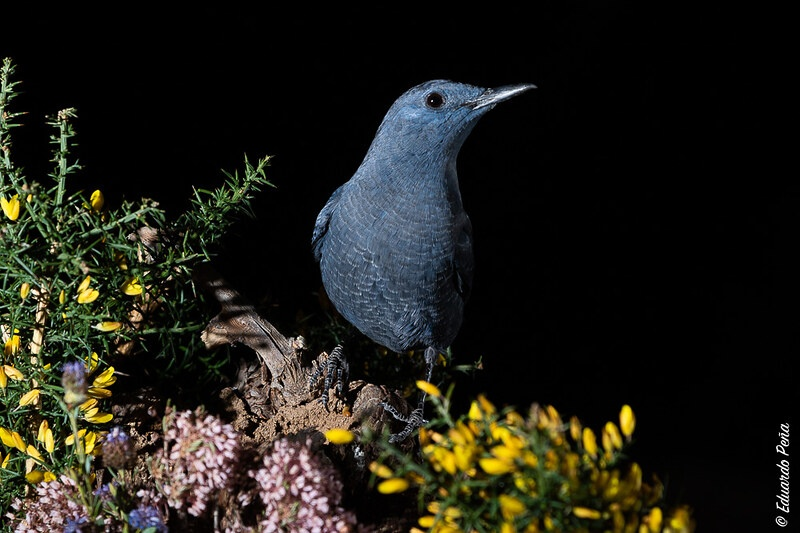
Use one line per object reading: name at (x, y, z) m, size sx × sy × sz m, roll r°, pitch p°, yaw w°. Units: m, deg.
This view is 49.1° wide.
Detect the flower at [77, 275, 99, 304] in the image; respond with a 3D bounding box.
flower at (-0.787, 0.059, 2.224) m, size 0.050 × 0.036 × 0.073 m, roll 64°, pitch -21°, yaw 6°

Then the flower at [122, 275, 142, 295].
flower at (-0.703, 0.053, 2.317) m, size 0.053 × 0.017 × 0.044 m, roll -36°, pitch -102°, yaw -5°
